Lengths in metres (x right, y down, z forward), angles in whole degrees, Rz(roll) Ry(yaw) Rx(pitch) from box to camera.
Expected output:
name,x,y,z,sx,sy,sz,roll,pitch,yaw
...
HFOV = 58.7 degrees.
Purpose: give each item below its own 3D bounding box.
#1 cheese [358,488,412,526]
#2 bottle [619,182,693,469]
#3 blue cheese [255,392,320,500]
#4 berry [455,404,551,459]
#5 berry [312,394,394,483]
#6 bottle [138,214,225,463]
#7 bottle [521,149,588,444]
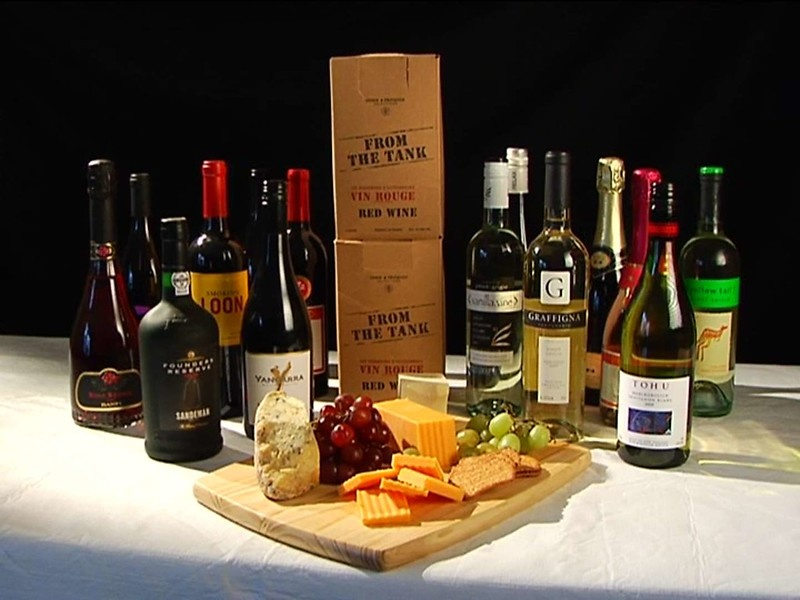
name,x,y,z,sx,sy,sz,roll,pitch,yaw
cheese,-0.025,0.315,1.086,0.077,0.025,0.093,-4,8,-7
bottle,0.452,0.047,1.261,0.128,0.505,0.183,1,8,23
blue cheese,-0.183,0.233,1.161,0.098,0.167,0.085,15,15,42
berry,0.190,0.252,1.319,0.120,0.075,0.165,17,-18,-34
berry,-0.082,0.244,1.198,0.104,0.078,0.146,-19,31,8
bottle,-0.391,0.078,1.255,0.140,0.439,0.076,-5,8,-17
bottle,0.293,0.001,1.345,0.118,0.546,0.098,0,8,14
